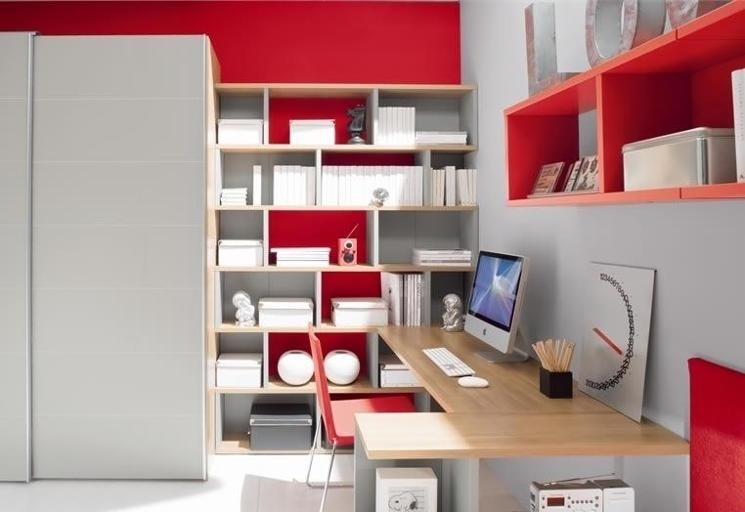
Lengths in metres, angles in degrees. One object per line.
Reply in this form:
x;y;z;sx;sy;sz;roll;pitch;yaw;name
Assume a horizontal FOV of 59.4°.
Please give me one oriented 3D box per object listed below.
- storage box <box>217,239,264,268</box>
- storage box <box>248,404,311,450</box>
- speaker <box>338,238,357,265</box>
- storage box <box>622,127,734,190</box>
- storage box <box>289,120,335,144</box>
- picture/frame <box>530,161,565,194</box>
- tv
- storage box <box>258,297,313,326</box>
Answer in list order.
-0.886;-0.007;4.366;0.217;0.127;0.213;0;-1;-13;storage box
-0.624;1.122;4.472;0.279;0.169;0.361;2;-3;-7;storage box
-0.170;-0.027;4.461;0.156;0.225;0.159;0;-3;-9;speaker
1.117;-0.348;2.381;0.239;0.157;0.335;-1;0;-18;storage box
-0.416;-0.838;4.372;0.248;0.125;0.179;0;1;-4;storage box
0.830;-0.373;3.100;0.025;0.165;0.191;18;-7;-11;picture/frame
0.746;0.268;3.650;0.256;0.588;0.650;2;4;-11;tv
-0.586;0.379;4.453;0.289;0.132;0.208;1;2;-4;storage box
